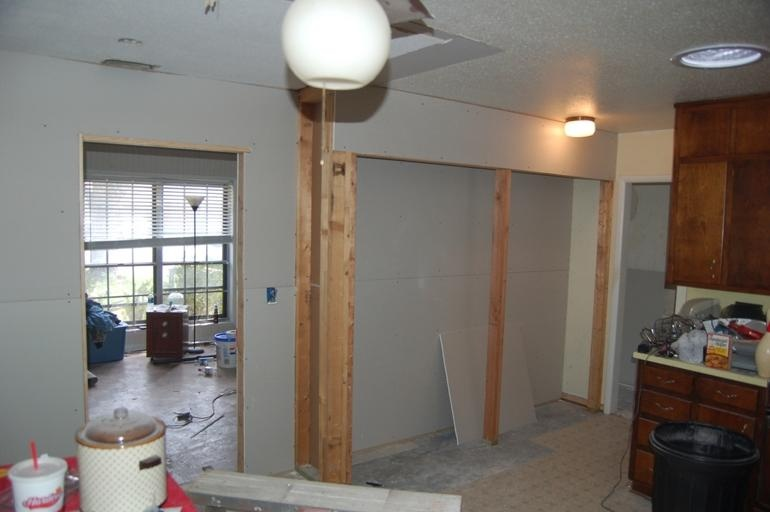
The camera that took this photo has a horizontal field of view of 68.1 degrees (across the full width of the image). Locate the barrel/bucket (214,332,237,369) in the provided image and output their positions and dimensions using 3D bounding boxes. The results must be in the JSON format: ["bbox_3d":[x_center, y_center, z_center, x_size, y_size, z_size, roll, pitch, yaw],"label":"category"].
[{"bbox_3d":[-2.148,1.296,7.851,0.376,0.367,0.367,-1,-1,0],"label":"barrel/bucket"}]

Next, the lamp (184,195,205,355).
[{"bbox_3d":[-2.835,0.228,8.528,0.284,2.329,0.849,-3,12,-19],"label":"lamp"}]

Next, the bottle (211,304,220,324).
[{"bbox_3d":[-2.670,0.902,8.993,0.111,0.270,0.239,-2,11,-16],"label":"bottle"}]

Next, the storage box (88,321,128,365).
[{"bbox_3d":[-3.807,1.196,7.913,0.558,0.489,0.452,-2,6,-36],"label":"storage box"}]

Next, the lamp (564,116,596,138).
[{"bbox_3d":[1.983,-1.322,5.912,0.250,0.141,0.241,1,5,2],"label":"lamp"}]

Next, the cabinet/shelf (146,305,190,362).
[{"bbox_3d":[-3.177,1.172,8.087,0.532,0.631,0.554,8,-25,-38],"label":"cabinet/shelf"}]
